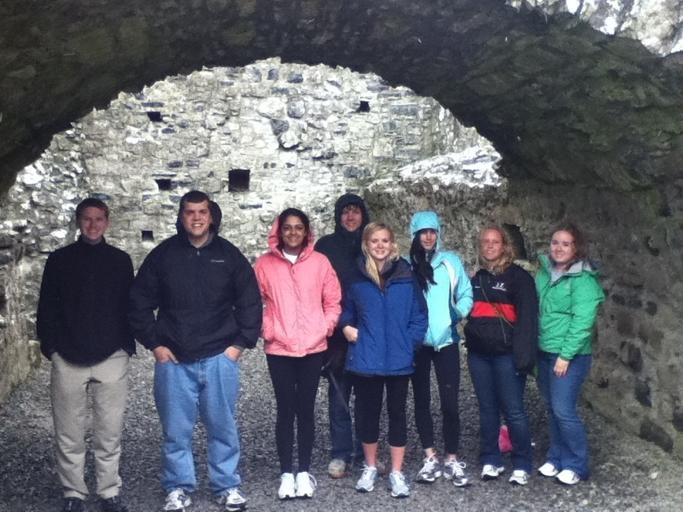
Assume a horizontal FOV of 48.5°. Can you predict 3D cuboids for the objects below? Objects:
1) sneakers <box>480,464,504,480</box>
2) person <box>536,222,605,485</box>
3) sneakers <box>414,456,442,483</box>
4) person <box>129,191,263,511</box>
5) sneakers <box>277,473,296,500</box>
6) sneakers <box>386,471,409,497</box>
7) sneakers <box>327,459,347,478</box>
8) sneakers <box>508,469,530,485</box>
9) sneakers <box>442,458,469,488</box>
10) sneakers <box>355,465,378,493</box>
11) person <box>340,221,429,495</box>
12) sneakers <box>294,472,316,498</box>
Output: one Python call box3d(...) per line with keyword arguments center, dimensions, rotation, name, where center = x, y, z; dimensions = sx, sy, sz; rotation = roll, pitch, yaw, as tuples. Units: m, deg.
box3d(center=(1.022, 1.463, 5.154), dimensions=(0.071, 0.082, 0.180), rotation=(-6, -19, 22), name="sneakers")
box3d(center=(1.556, 0.655, 5.188), dimensions=(0.454, 1.733, 0.399), rotation=(-1, 5, 23), name="person")
box3d(center=(0.598, 1.446, 5.160), dimensions=(0.100, 0.101, 0.226), rotation=(-2, -5, 20), name="sneakers")
box3d(center=(-0.897, 0.654, 4.841), dimensions=(0.818, 1.920, 0.376), rotation=(-4, 5, -15), name="person")
box3d(center=(-0.358, 1.495, 4.980), dimensions=(0.118, 0.174, 0.174), rotation=(-3, 5, -3), name="sneakers")
box3d(center=(0.377, 1.503, 4.966), dimensions=(0.086, 0.084, 0.196), rotation=(0, -3, -7), name="sneakers")
box3d(center=(-0.023, 1.463, 5.220), dimensions=(0.088, 0.058, 0.150), rotation=(2, 10, -1), name="sneakers")
box3d(center=(1.218, 1.484, 5.116), dimensions=(0.166, 0.103, 0.076), rotation=(-4, 5, -15), name="sneakers")
box3d(center=(0.783, 1.446, 5.172), dimensions=(0.167, 0.167, 0.273), rotation=(-2, 5, 7), name="sneakers")
box3d(center=(0.159, 1.472, 4.982), dimensions=(0.093, 0.083, 0.209), rotation=(3, -5, 14), name="sneakers")
box3d(center=(0.298, 0.682, 5.056), dimensions=(0.583, 1.788, 0.390), rotation=(-3, 5, -1), name="person")
box3d(center=(-0.227, 1.493, 4.966), dimensions=(0.096, 0.084, 0.199), rotation=(-1, 4, -10), name="sneakers")
